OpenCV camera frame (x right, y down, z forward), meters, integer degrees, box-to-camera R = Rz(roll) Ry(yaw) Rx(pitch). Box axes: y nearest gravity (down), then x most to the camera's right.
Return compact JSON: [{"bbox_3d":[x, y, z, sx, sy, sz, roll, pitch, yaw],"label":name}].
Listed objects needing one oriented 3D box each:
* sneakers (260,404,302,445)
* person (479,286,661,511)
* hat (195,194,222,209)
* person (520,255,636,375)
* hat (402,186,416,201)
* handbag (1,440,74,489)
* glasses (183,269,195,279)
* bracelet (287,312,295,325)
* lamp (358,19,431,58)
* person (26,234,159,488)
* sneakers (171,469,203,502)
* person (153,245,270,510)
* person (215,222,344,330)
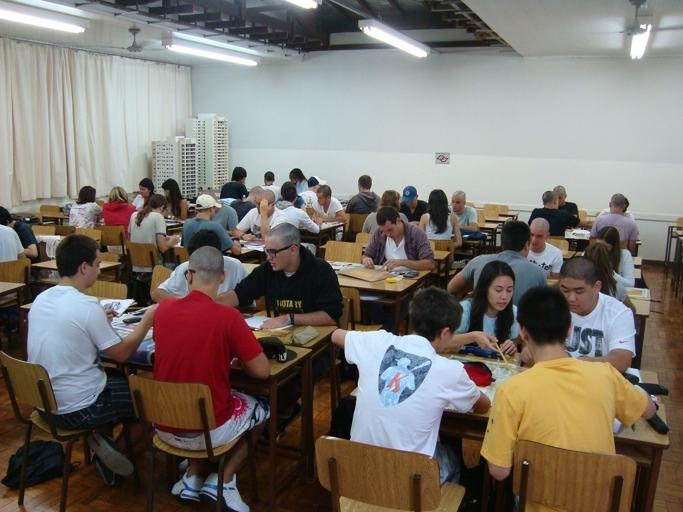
[{"bbox_3d":[-0.407,1.154,3.602,0.135,0.297,0.423,4,2,17],"label":"sneakers"},{"bbox_3d":[0.974,0.620,2.237,0.696,0.942,0.387,1,10,11],"label":"person"},{"bbox_3d":[-1.423,-0.580,5.520,0.160,0.135,0.233,9,17,29],"label":"hat"},{"bbox_3d":[1.438,0.403,3.041,0.507,0.753,0.623,-8,2,-26],"label":"person"},{"bbox_3d":[0.967,-0.877,7.117,0.142,0.133,0.234,4,26,19],"label":"hat"},{"bbox_3d":[-1.921,1.236,3.237,0.289,0.114,0.300,12,15,25],"label":"handbag"},{"bbox_3d":[-0.913,0.106,3.067,0.050,0.069,0.024,9,43,-9],"label":"glasses"},{"bbox_3d":[-0.332,0.423,3.420,0.046,0.066,0.030,-1,-22,-3],"label":"bracelet"},{"bbox_3d":[0.809,-3.314,7.758,0.222,0.186,2.312,5,12,27],"label":"lamp"},{"bbox_3d":[-1.470,0.473,2.985,0.636,1.177,0.408,-7,12,-30],"label":"person"},{"bbox_3d":[-0.876,1.312,2.908,0.106,0.138,0.273,13,-20,-22],"label":"sneakers"},{"bbox_3d":[-0.707,0.730,2.824,0.633,1.516,0.450,-4,11,-20],"label":"person"},{"bbox_3d":[-0.393,0.070,3.837,0.725,1.087,0.724,10,16,39],"label":"person"}]
